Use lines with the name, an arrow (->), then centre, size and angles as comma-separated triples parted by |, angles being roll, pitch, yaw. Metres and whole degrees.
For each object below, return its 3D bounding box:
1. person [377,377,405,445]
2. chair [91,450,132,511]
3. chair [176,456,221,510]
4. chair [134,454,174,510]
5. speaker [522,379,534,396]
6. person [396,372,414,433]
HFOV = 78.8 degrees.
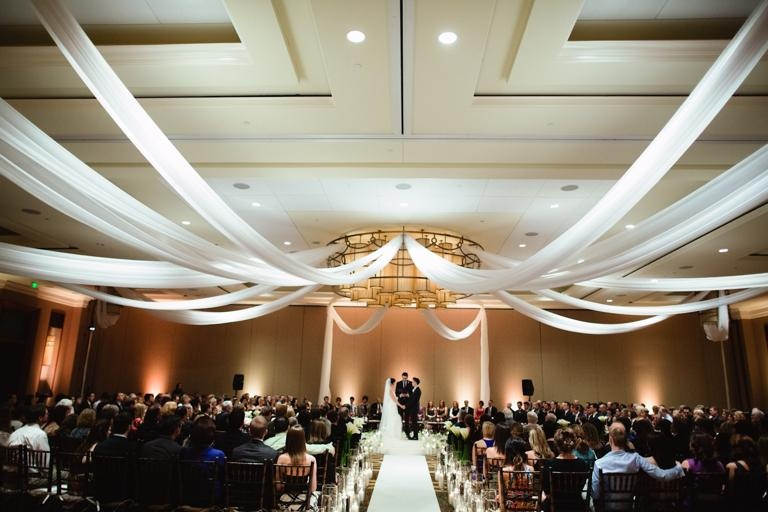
person -> 0.248, 4.525, 14.497 | 1.039, 1.378, 0.736 | -1, -23, 8
chair -> -3.290, 2.647, 5.518 | 0.470, 0.546, 0.251 | -2, -23, 13
chair -> -2.217, 2.667, 5.484 | 0.436, 0.513, 0.254 | 1, -23, 7
chair -> -2.731, 2.650, 5.478 | 0.450, 0.535, 0.234 | 1, -23, 7
speaker -> 5.418, 4.822, 17.321 | 0.371, 0.648, 0.941 | -1, -22, 13
person -> 0.704, 4.589, 14.533 | 0.694, 1.831, 0.612 | 0, -16, -14
